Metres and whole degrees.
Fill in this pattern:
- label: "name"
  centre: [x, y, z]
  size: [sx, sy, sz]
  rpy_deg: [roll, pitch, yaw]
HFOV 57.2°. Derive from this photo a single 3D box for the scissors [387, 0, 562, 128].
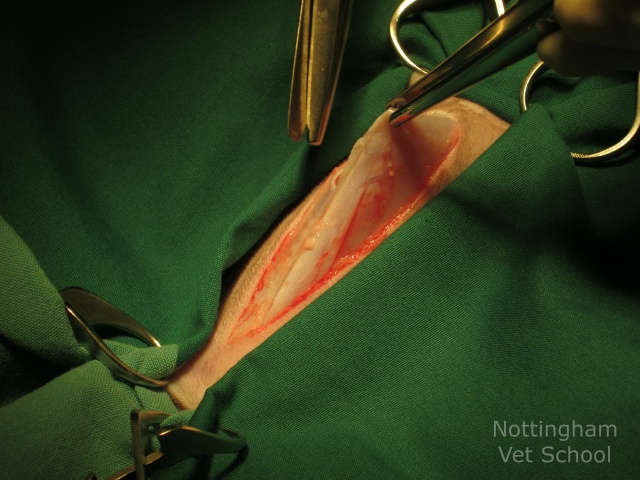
- label: "scissors"
  centre: [0.198, -0.228, 0.812]
  size: [0.237, 0.198, 0.032]
  rpy_deg: [5, 51, 20]
